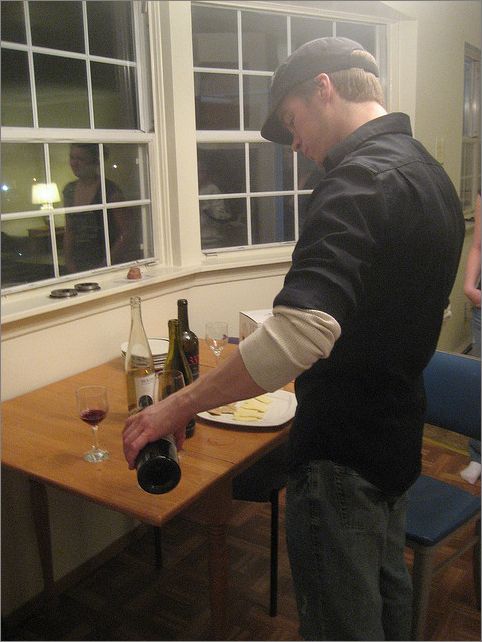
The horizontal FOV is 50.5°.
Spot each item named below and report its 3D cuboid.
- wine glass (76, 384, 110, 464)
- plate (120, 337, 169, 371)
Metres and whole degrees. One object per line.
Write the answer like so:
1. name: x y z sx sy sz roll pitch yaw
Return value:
1. wine glass: -0.333 0.209 1.142 0.059 0.158 0.215 -6 14 -19
2. plate: -0.260 0.092 1.405 0.105 0.035 0.107 -1 12 -7
